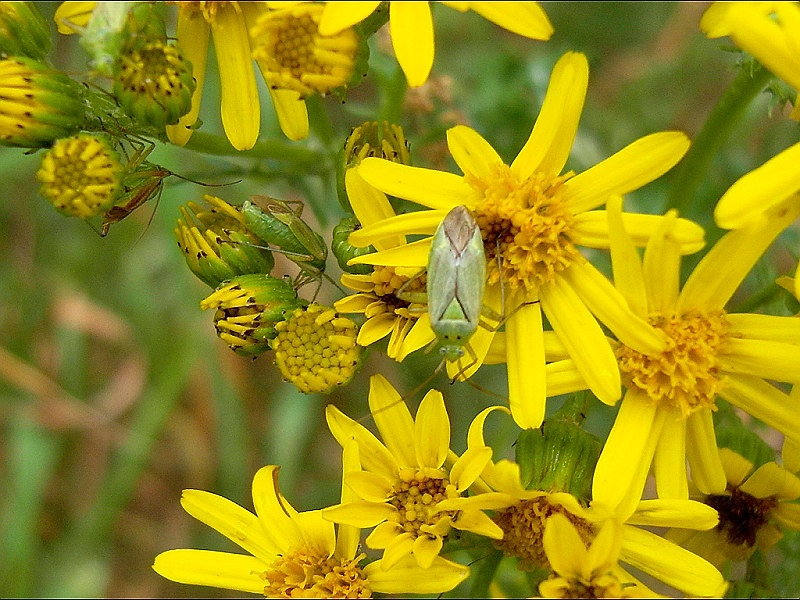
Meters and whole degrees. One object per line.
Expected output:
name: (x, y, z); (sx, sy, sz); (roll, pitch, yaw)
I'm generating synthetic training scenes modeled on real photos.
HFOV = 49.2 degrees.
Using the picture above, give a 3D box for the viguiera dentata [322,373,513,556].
viguiera dentata: (0.042, 0.637, 3.223); (0.701, 0.776, 0.494); (-5, 13, -18)

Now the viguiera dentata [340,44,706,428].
viguiera dentata: (0.496, -0.230, 3.185); (1.330, 1.304, 0.420); (-34, 5, 15)

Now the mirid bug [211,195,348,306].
mirid bug: (-0.442, -0.280, 3.604); (0.291, 0.543, 0.401); (-8, 13, -40)

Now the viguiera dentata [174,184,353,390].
viguiera dentata: (-0.506, -0.041, 3.426); (0.546, 0.400, 0.871); (-20, 62, -12)

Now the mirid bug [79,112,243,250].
mirid bug: (-1.099, -0.522, 3.685); (0.528, 0.682, 0.406); (-10, 17, -37)
